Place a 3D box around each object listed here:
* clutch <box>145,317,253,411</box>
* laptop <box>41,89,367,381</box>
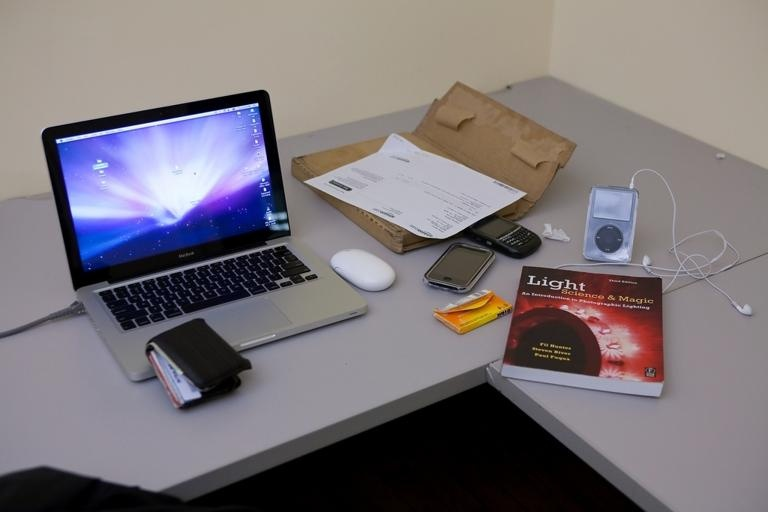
[{"bbox_3d":[-0.292,0.169,0.880,0.140,0.041,0.123,-25,61,-34],"label":"clutch"},{"bbox_3d":[-0.358,-0.002,1.219,0.634,0.446,0.531,-18,46,-24],"label":"laptop"}]
